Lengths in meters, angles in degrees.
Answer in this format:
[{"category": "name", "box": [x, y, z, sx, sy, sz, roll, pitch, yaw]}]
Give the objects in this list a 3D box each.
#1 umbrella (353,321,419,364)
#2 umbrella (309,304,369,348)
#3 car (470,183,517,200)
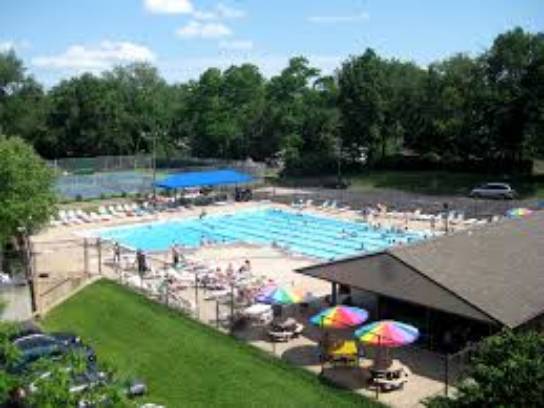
[{"category": "umbrella", "box": [3.894, 4.514, 16.899, 2.050, 0.677, 1.210, 2, 4, 14]}, {"category": "umbrella", "box": [2.470, 4.490, 18.173, 1.329, 0.831, 1.326, -2, 0, -40]}, {"category": "car", "box": [22.945, -1.205, 51.074, 4.012, 1.559, 2.013, 5, 7, 28]}]
